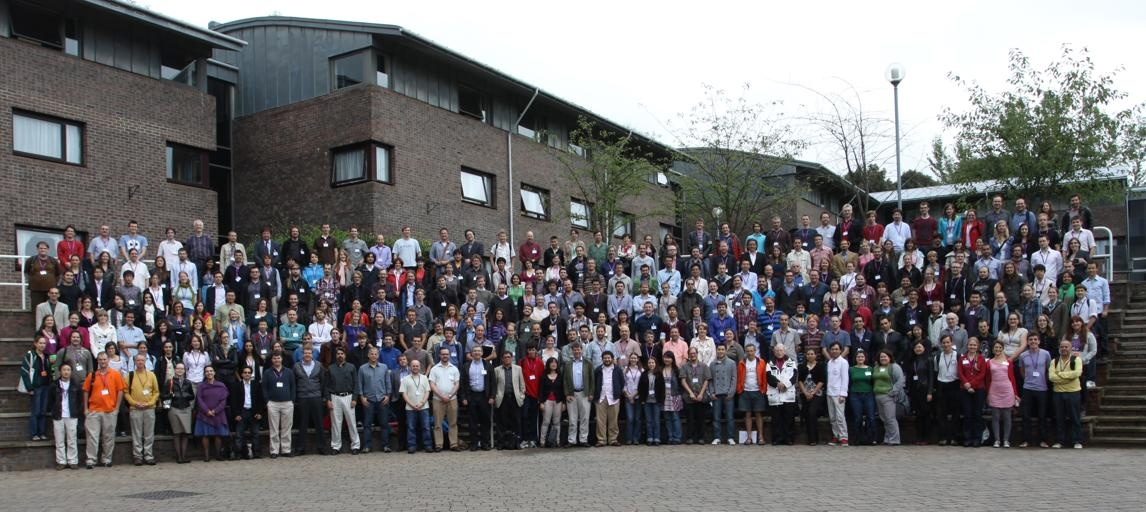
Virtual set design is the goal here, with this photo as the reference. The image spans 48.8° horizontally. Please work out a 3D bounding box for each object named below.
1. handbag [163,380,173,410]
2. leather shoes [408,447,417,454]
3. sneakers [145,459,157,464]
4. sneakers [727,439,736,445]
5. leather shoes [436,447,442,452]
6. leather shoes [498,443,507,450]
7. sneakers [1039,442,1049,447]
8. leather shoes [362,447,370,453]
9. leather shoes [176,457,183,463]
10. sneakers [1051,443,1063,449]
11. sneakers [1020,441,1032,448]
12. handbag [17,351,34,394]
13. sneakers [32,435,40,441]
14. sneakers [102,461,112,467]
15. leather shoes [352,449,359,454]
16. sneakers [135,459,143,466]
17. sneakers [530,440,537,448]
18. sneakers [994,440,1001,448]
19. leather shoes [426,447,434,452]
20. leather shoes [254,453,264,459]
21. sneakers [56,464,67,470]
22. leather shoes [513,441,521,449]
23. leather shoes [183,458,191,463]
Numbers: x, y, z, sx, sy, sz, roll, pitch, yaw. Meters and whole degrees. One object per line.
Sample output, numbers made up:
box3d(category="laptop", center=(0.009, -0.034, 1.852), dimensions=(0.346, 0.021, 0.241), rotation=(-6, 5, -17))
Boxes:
box3d(category="handbag", center=(-14.884, 5.249, 46.799), dimensions=(0.483, 1.035, 0.172), rotation=(-12, -14, 33))
box3d(category="leather shoes", center=(-6.010, 7.486, 47.610), dimensions=(0.300, 0.225, 0.442), rotation=(-2, -11, -8))
box3d(category="sneakers", center=(-15.429, 7.740, 46.537), dimensions=(0.362, 0.225, 0.291), rotation=(2, -12, -22))
box3d(category="sneakers", center=(6.117, 7.233, 48.230), dimensions=(0.294, 0.235, 0.373), rotation=(-4, -11, 7))
box3d(category="leather shoes", center=(-4.997, 7.458, 47.849), dimensions=(0.271, 0.180, 0.209), rotation=(0, -12, -13))
box3d(category="leather shoes", center=(-2.627, 7.391, 48.079), dimensions=(0.420, 0.222, 0.150), rotation=(-7, -12, 20))
box3d(category="sneakers", center=(17.559, 7.139, 47.027), dimensions=(0.312, 0.220, 0.207), rotation=(-3, -11, 2))
box3d(category="leather shoes", center=(-7.697, 7.469, 47.766), dimensions=(0.326, 0.223, 0.198), rotation=(7, -15, -40))
box3d(category="leather shoes", center=(-14.417, 7.713, 46.739), dimensions=(0.330, 0.180, 0.194), rotation=(-3, -11, 3))
box3d(category="sneakers", center=(17.956, 7.196, 46.886), dimensions=(0.176, 0.125, 0.392), rotation=(-5, -12, 42))
box3d(category="sneakers", center=(16.895, 7.176, 47.169), dimensions=(0.164, 0.150, 0.485), rotation=(0, -6, 44))
box3d(category="handbag", center=(-19.985, 4.357, 46.492), dimensions=(0.456, 1.544, 0.713), rotation=(4, -14, -31))
box3d(category="sneakers", center=(-19.564, 6.814, 46.333), dimensions=(0.289, 0.084, 0.121), rotation=(1, 7, 38))
box3d(category="sneakers", center=(-16.905, 7.784, 46.269), dimensions=(0.270, 0.132, 0.172), rotation=(1, -12, -17))
box3d(category="leather shoes", center=(-8.092, 7.507, 47.586), dimensions=(0.332, 0.181, 0.255), rotation=(-2, -11, -6))
box3d(category="sneakers", center=(-15.877, 7.732, 46.473), dimensions=(0.282, 0.218, 0.189), rotation=(-1, -12, -12))
box3d(category="sneakers", center=(-1.413, 7.339, 48.345), dimensions=(0.120, 0.222, 0.239), rotation=(-14, -16, 41))
box3d(category="sneakers", center=(15.760, 7.144, 47.055), dimensions=(0.260, 0.218, 0.271), rotation=(-9, -12, 26))
box3d(category="leather shoes", center=(-5.353, 7.461, 47.727), dimensions=(0.297, 0.228, 0.312), rotation=(-2, -11, -6))
box3d(category="leather shoes", center=(-11.647, 7.618, 47.204), dimensions=(0.325, 0.182, 0.328), rotation=(-3, -11, -1))
box3d(category="sneakers", center=(-18.467, 7.834, 45.966), dimensions=(0.353, 0.178, 0.247), rotation=(0, -11, -14))
box3d(category="leather shoes", center=(-2.012, 7.338, 48.048), dimensions=(0.322, 0.304, 0.145), rotation=(3, -14, -27))
box3d(category="leather shoes", center=(-14.215, 7.725, 46.814), dimensions=(0.295, 0.181, 0.324), rotation=(-2, -11, -6))
